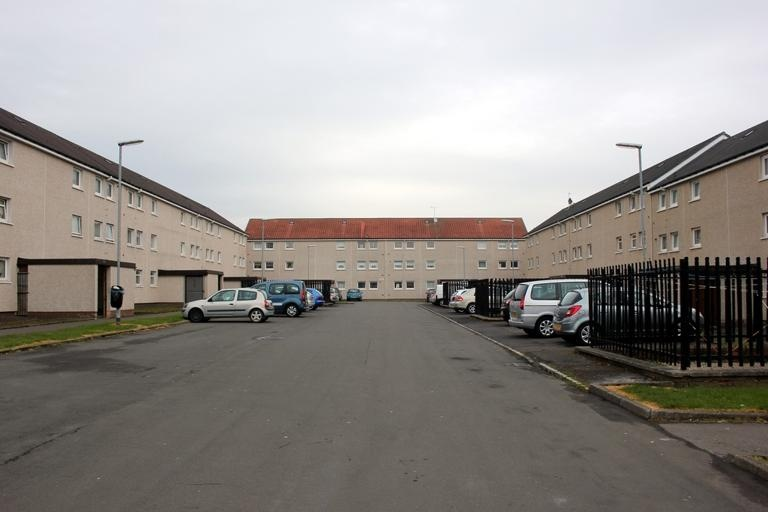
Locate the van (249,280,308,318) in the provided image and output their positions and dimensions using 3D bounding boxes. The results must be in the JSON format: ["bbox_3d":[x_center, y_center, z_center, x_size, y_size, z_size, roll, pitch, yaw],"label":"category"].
[{"bbox_3d":[-6.143,2.532,36.377,3.003,1.567,1.787,2,-4,7],"label":"van"}]

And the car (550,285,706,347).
[{"bbox_3d":[6.028,1.565,15.898,1.687,1.696,6.378,-1,-7,3],"label":"car"}]

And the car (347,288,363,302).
[{"bbox_3d":[-3.840,5.095,76.711,1.749,1.355,1.745,3,-7,-26],"label":"car"}]

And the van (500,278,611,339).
[{"bbox_3d":[6.146,1.813,21.819,2.842,1.335,1.638,-4,-3,-6],"label":"van"}]
